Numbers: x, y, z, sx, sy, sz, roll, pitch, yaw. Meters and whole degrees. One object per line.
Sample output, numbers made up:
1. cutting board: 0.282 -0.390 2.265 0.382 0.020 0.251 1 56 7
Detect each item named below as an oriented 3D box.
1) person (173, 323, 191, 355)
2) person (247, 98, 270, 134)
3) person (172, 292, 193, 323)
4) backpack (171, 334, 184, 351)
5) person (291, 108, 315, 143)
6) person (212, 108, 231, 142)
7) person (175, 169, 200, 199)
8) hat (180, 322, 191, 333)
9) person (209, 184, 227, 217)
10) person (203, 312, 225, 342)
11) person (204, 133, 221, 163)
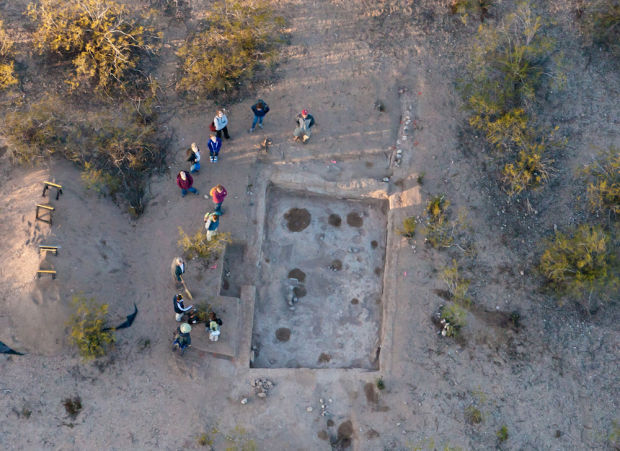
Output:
1. person: -5.696 5.117 45.162 0.519 1.358 0.882 16 73 -7
2. person: -2.337 -5.100 46.359 0.811 2.020 0.706 -11 61 -13
3. person: -5.618 3.606 45.239 0.635 1.423 1.194 -8 63 4
4. backpack: -5.836 5.215 45.249 0.449 0.314 0.856 3 100 0
5. person: -0.302 -4.526 46.200 0.797 2.260 0.813 9 57 0
6. person: -3.965 -4.445 45.938 0.603 1.870 0.586 -18 43 -10
7. person: -5.641 -1.965 45.766 0.935 1.587 0.900 -9 77 0
8. hat: -5.525 4.553 44.953 0.482 1.281 0.469 4 77 3
9. person: -4.057 -1.062 45.572 0.628 2.149 0.689 -4 54 -2
10. person: -4.303 4.519 45.201 0.704 0.960 1.244 16 80 5
11. person: -4.416 -3.464 46.186 0.708 2.233 1.096 -4 81 -7
